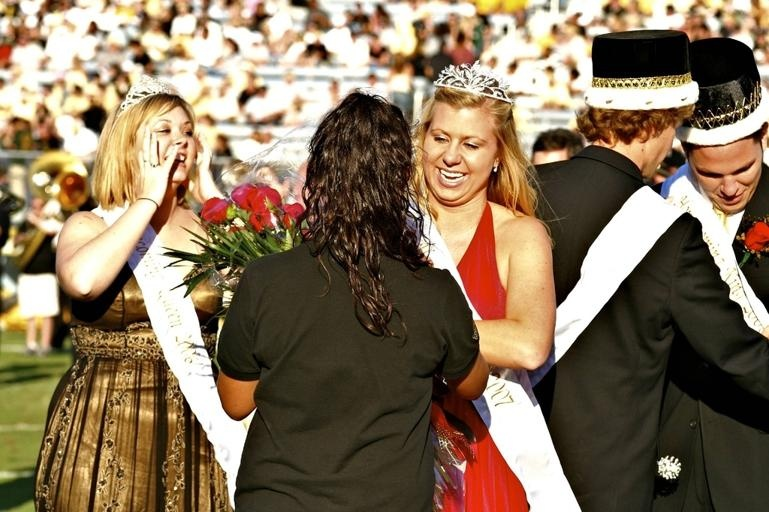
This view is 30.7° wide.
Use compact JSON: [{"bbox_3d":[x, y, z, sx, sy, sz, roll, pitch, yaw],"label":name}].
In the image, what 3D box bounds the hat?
[{"bbox_3d":[1.867,-1.089,9.028,1.056,0.501,0.706,-9,13,-2],"label":"hat"}]
